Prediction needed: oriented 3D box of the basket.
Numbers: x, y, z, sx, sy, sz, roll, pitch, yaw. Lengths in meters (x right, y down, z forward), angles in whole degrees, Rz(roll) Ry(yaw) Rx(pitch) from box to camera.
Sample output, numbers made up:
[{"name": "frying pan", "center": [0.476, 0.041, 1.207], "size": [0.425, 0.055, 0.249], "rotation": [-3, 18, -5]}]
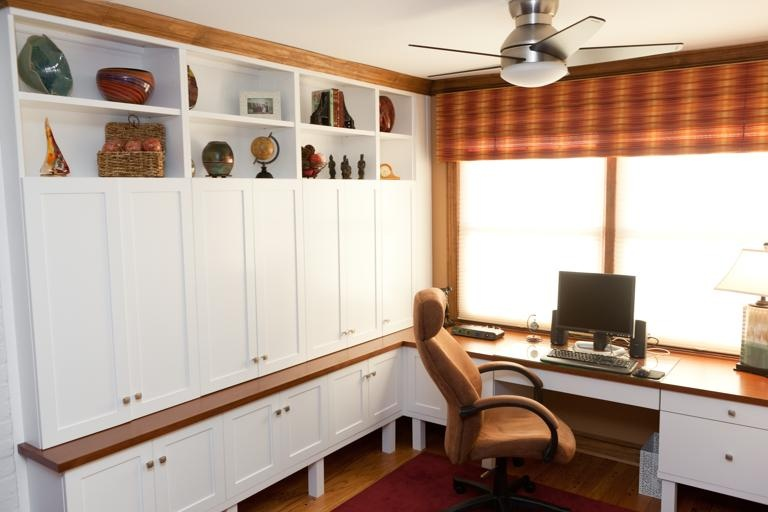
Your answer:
[{"name": "basket", "center": [-1.573, -0.651, 3.536], "size": [0.489, 0.414, 0.264], "rotation": [-1, 3, -34]}]

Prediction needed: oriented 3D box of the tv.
[{"name": "tv", "center": [1.642, 0.448, 4.448], "size": [0.714, 0.683, 0.249], "rotation": [0, -2, 34]}]

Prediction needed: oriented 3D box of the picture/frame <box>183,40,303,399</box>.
[{"name": "picture/frame", "center": [-1.017, -0.260, 4.052], "size": [0.974, 2.238, 0.605], "rotation": [-8, 14, -35]}]

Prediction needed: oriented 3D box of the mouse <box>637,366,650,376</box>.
[{"name": "mouse", "center": [1.807, 0.807, 4.006], "size": [0.061, 0.022, 0.054], "rotation": [-11, 10, -40]}]

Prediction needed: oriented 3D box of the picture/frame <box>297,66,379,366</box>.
[{"name": "picture/frame", "center": [-0.434, -0.328, 4.599], "size": [0.538, 2.128, 0.999], "rotation": [6, 13, 31]}]

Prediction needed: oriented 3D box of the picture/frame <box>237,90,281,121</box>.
[{"name": "picture/frame", "center": [-0.887, -1.063, 4.082], "size": [0.341, 0.203, 0.012], "rotation": [0, 0, -20]}]
